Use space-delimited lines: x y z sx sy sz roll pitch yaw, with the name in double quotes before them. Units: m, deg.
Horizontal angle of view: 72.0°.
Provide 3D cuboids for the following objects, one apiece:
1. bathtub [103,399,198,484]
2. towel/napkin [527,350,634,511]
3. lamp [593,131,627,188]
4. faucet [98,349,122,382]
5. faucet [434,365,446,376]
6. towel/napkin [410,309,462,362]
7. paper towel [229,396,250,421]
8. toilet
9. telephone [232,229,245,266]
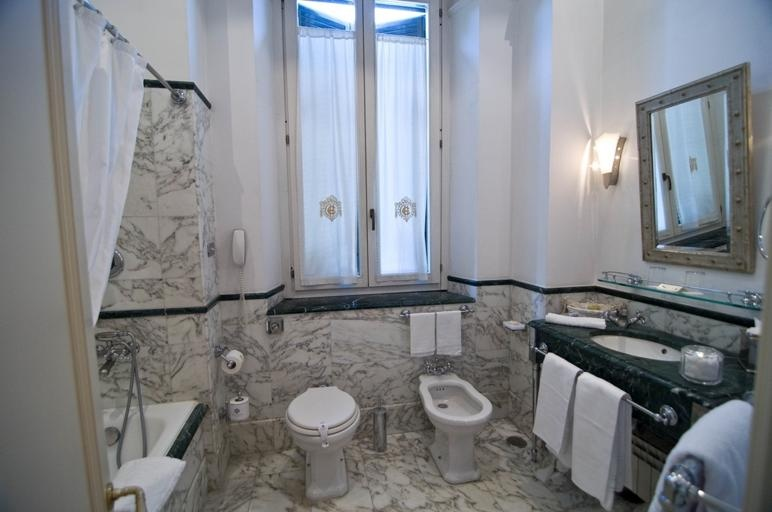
"bathtub" -1.192 0.961 2.692 0.463 0.230 0.709 -2 3 -18
"towel/napkin" 1.049 0.943 2.820 0.194 0.808 0.773 -2 9 -19
"lamp" 1.371 -0.583 3.268 0.078 0.330 0.182 -5 7 -28
"faucet" -1.522 0.608 2.944 0.094 0.168 0.167 -7 7 -36
"faucet" 0.363 0.795 3.630 0.060 0.029 0.087 -1 -3 -5
"towel/napkin" 0.327 0.544 3.619 0.339 0.295 0.047 -1 2 -11
"paper towel" -0.910 0.947 3.281 0.120 0.122 0.118 -4 6 -18
"toilet" -0.381 1.133 3.207 0.424 0.508 0.505 -3 17 -12
"telephone" -0.922 -0.042 3.341 0.092 0.241 0.095 -4 6 -16
